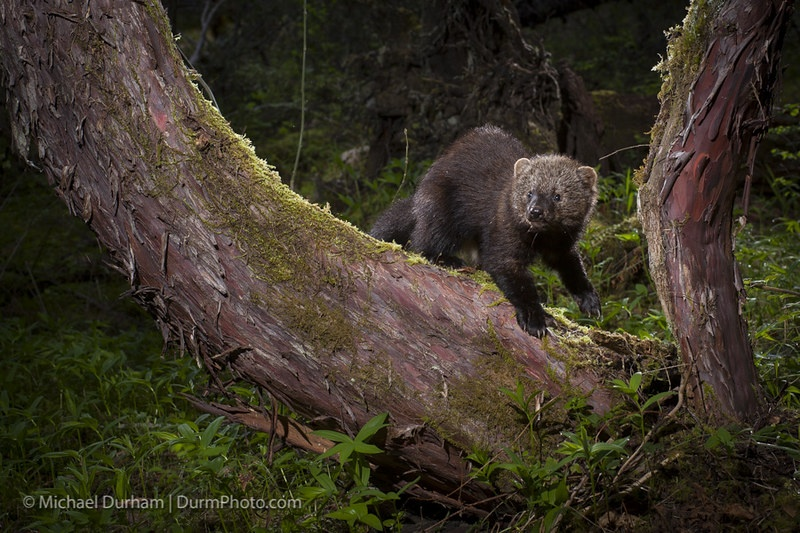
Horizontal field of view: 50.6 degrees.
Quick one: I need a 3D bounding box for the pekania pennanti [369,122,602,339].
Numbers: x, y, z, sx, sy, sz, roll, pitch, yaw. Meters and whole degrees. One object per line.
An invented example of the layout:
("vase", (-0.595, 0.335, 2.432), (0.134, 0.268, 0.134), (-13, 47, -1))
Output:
("pekania pennanti", (0.715, -0.551, 8.397), (0.998, 1.533, 3.159), (-5, 17, -30))
